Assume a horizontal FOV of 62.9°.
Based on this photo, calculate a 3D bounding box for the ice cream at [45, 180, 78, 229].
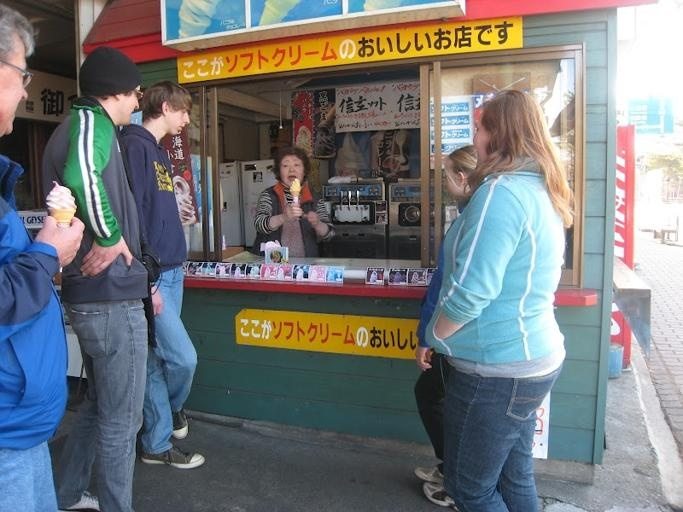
[{"bbox_3d":[-1.149,-0.199,2.297,0.132,0.176,0.136,-1,2,-21],"label":"ice cream"}]

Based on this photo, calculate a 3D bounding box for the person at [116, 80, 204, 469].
[{"bbox_3d":[-1.141,0.118,3.531,0.566,2.420,0.769,-2,5,-14],"label":"person"}]

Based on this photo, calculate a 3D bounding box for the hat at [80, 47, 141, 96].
[{"bbox_3d":[-1.216,-0.977,2.972,0.347,0.282,0.353,-13,14,-36],"label":"hat"}]

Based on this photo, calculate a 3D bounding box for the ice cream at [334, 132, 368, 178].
[{"bbox_3d":[0.086,-1.596,8.395,0.447,0.681,0.434,24,39,17],"label":"ice cream"}]
